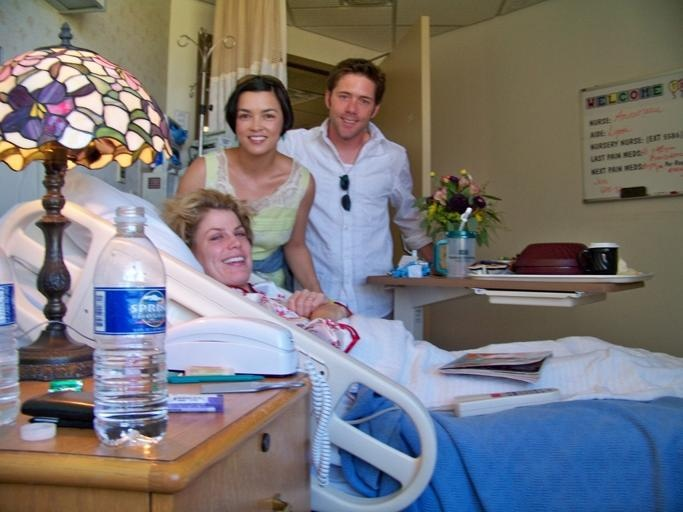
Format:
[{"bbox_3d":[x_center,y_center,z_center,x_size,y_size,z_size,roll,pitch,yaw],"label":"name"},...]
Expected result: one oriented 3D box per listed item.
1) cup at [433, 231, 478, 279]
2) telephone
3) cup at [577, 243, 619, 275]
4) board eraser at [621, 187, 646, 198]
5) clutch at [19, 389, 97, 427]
[{"bbox_3d":[0.455,-0.004,2.247,0.190,0.182,0.130,-1,-2,13],"label":"cup"},{"bbox_3d":[-0.186,0.149,0.982,0.198,0.074,0.099,1,-4,5],"label":"telephone"},{"bbox_3d":[0.840,0.012,1.827,0.134,0.113,0.085,-1,-3,25],"label":"cup"},{"bbox_3d":[1.719,-0.374,3.296,0.079,0.072,0.019,21,9,21],"label":"board eraser"},{"bbox_3d":[-0.359,0.192,0.715,0.056,0.017,0.058,8,2,-11],"label":"clutch"}]
